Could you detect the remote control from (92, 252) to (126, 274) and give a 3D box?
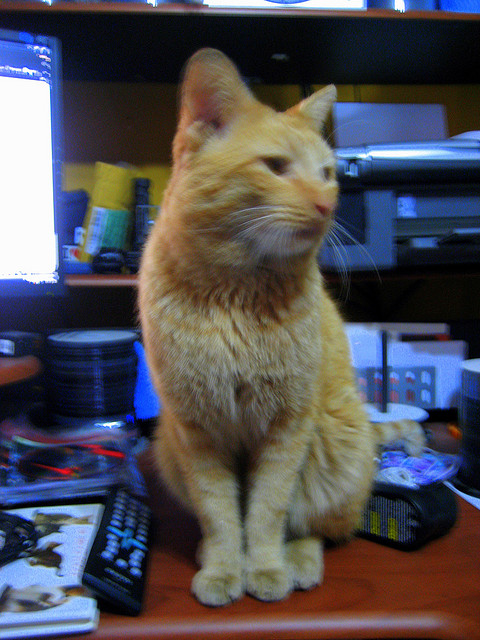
[{"bbox_3d":[-0.233,-0.101,1.091,0.031,0.018,0.051,-2,-15,-9],"label":"remote control"}]
